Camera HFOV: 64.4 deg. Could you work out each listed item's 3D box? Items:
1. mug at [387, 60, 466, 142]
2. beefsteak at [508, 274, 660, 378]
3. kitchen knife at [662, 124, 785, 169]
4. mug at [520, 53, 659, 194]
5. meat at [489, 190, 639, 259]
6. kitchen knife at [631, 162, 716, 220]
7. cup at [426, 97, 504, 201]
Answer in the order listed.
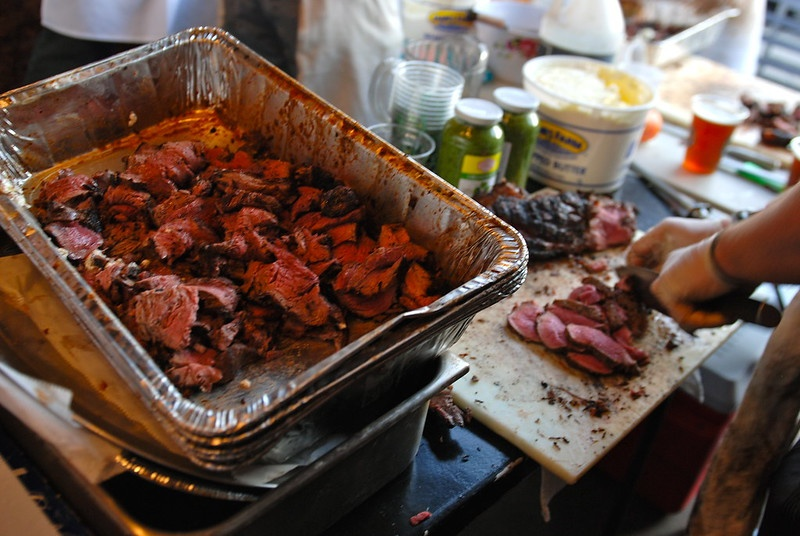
[{"bbox_3d":[0.100,-0.655,2.602,0.302,0.337,0.306,13,45,-5],"label":"mug"},{"bbox_3d":[0.588,0.167,2.057,0.359,0.064,0.302,7,44,8],"label":"beefsteak"},{"bbox_3d":[1.452,-0.541,2.838,0.547,0.041,0.107,15,20,17],"label":"kitchen knife"},{"bbox_3d":[0.752,-0.592,2.648,0.568,0.385,0.556,-1,36,-7],"label":"mug"},{"bbox_3d":[0.615,-0.173,2.366,0.491,0.142,0.261,-1,49,-15],"label":"meat"},{"bbox_3d":[1.154,-0.318,2.674,0.424,0.098,0.112,30,80,13],"label":"kitchen knife"},{"bbox_3d":[0.271,-0.456,2.365,0.216,0.367,0.211,2,50,-2],"label":"cup"}]
